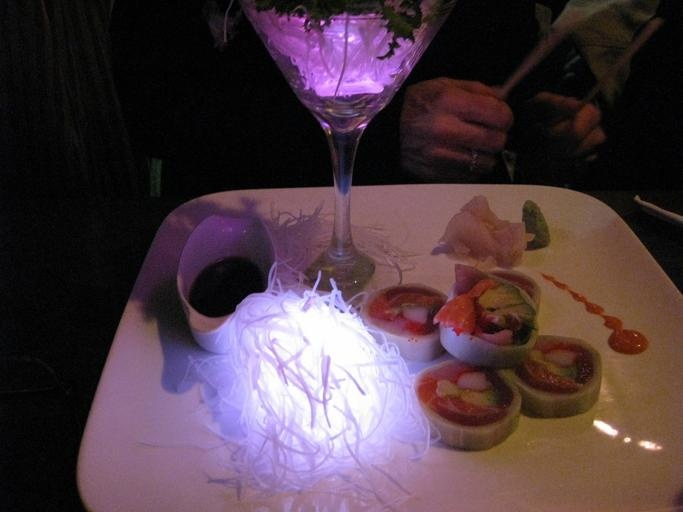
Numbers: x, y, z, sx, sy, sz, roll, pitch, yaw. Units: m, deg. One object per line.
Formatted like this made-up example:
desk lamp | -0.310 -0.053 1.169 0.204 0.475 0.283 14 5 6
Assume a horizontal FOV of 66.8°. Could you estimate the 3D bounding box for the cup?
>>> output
cup | -0.185 0.018 0.900 0.148 0.169 0.255 10 60 -15
